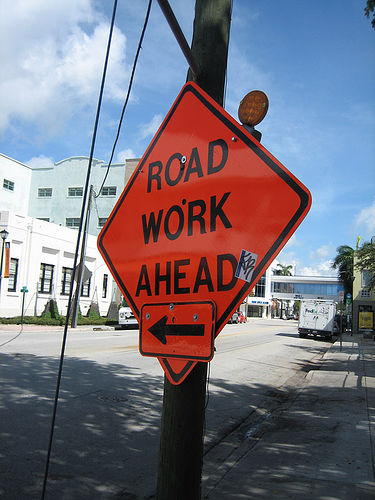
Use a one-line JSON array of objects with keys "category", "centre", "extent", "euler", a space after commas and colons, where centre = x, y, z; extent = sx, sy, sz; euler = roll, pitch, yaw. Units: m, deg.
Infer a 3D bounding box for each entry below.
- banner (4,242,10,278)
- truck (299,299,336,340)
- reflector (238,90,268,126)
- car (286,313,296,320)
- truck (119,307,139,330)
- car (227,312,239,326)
[{"category": "banner", "centre": [-11.955, 0.776, 26.250], "extent": [0.303, 2.108, 2.091], "euler": [-3, -5, -29]}, {"category": "truck", "centre": [9.048, 4.842, 27.826], "extent": [1.620, 2.221, 3.324], "euler": [0, -13, 17]}, {"category": "reflector", "centre": [0.254, -0.539, 1.546], "extent": [0.086, 0.111, 0.117], "euler": [-4, -5, -35]}, {"category": "car", "centre": [24.471, 16.301, 93.791], "extent": [1.825, 1.007, 5.100], "euler": [-10, -5, 33]}, {"category": "truck", "centre": [-4.239, 4.747, 27.671], "extent": [1.085, 1.213, 1.294], "euler": [-6, -4, -13]}, {"category": "car", "centre": [5.798, 8.783, 49.161], "extent": [1.038, 1.000, 4.240], "euler": [-7, -4, 9]}]
